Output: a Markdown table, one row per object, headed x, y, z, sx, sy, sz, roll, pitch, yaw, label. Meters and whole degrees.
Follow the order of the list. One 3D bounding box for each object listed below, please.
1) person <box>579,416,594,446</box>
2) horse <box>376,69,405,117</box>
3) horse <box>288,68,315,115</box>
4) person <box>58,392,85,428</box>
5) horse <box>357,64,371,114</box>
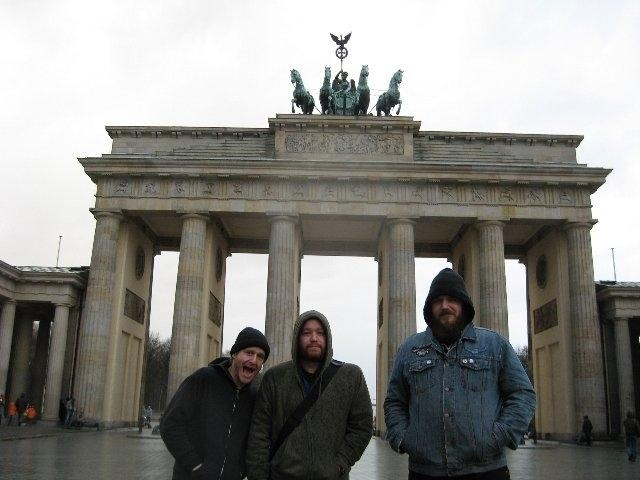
| x | y | z | sx | sy | sz | roll | pitch | yaw | label |
| --- | --- | --- | --- | --- | --- | --- | --- | --- | --- |
| 15.082 | 10.760 | 28.026 | 0.771 | 1.607 | 1.673 | -9 | -23 | 26 | person |
| 4.902 | -9.955 | 34.723 | 0.887 | 3.099 | 3.550 | 2 | -2 | -18 | horse |
| -1.100 | -10.203 | 34.953 | 1.034 | 2.926 | 3.959 | 5 | 8 | 24 | horse |
| -14.381 | 10.023 | 28.727 | 0.910 | 1.620 | 2.858 | 15 | -25 | -34 | person |
| 2.992 | -10.364 | 34.314 | 0.829 | 2.701 | 1.916 | 0 | -20 | 1 | horse |
